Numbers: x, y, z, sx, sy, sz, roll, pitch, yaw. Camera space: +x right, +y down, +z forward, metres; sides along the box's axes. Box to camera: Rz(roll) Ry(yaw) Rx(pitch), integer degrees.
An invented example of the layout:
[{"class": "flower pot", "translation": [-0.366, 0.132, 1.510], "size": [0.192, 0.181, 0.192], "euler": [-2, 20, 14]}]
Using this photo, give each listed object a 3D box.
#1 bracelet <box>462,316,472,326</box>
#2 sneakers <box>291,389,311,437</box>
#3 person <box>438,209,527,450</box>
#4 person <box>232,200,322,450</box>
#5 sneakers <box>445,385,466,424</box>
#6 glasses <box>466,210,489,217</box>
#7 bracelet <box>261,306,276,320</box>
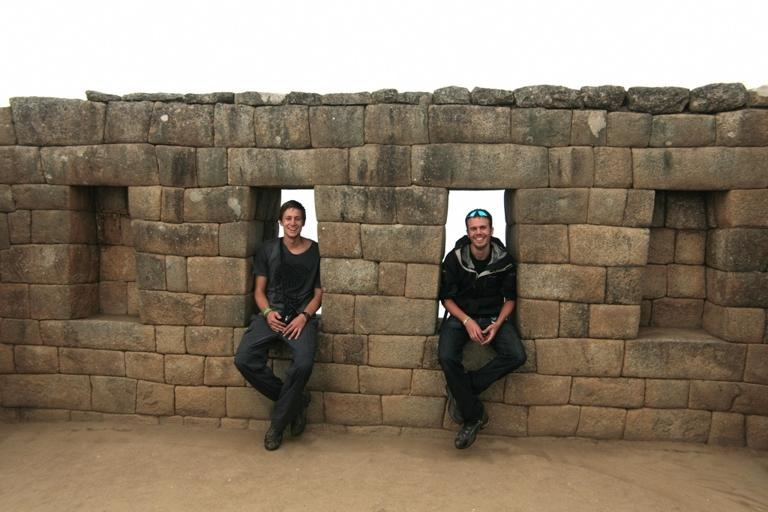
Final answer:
[{"class": "bracelet", "translation": [1.032, 0.806, 10.981], "size": [0.091, 0.026, 0.093], "euler": [-44, 20, -29]}, {"class": "sneakers", "translation": [-1.048, 1.998, 11.219], "size": [0.214, 0.586, 0.261], "euler": [14, 16, 14]}, {"class": "person", "translation": [1.210, 0.899, 11.072], "size": [1.080, 2.965, 0.702], "euler": [1, 5, 2]}, {"class": "person", "translation": [-1.306, 0.839, 11.136], "size": [1.017, 3.058, 0.723], "euler": [1, 5, 1]}, {"class": "sneakers", "translation": [0.878, 1.849, 11.030], "size": [0.177, 0.470, 0.204], "euler": [-7, 11, -2]}, {"class": "glasses", "translation": [1.153, -0.525, 10.902], "size": [0.284, 0.102, 0.200], "euler": [2, 4, 12]}, {"class": "bracelet", "translation": [-1.438, 0.708, 11.115], "size": [0.129, 0.084, 0.131], "euler": [-2, 31, -14]}]
